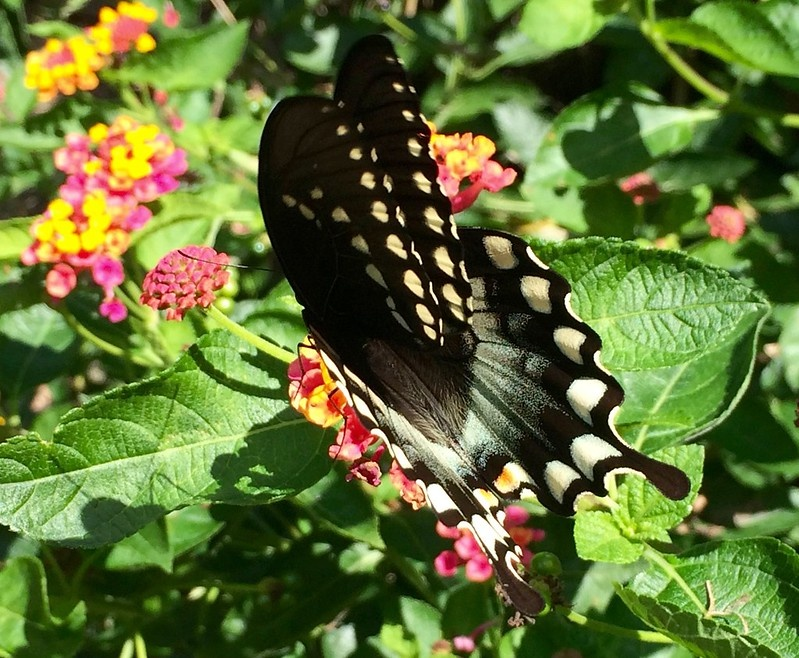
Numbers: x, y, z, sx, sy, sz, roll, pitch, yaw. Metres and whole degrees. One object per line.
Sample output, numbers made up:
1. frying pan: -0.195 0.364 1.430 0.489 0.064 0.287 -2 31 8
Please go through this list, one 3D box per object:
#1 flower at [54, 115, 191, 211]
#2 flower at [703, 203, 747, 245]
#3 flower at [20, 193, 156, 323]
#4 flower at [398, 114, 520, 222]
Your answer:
1. flower: -0.652 -0.366 2.027 0.221 0.086 0.211 33 25 -1
2. flower: 0.806 -0.258 2.183 0.116 0.087 0.029 13 1 6
3. flower: -0.716 -0.161 2.013 0.282 0.230 0.102 -7 -8 -19
4. flower: 0.124 -0.341 1.958 0.261 0.202 0.112 -18 -2 -45
